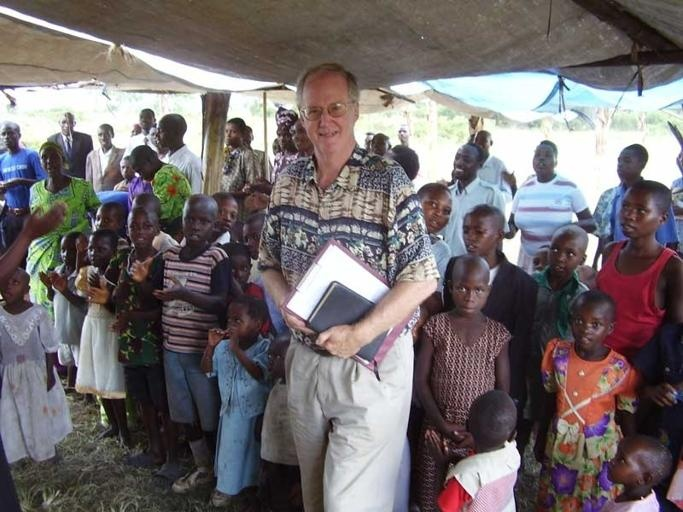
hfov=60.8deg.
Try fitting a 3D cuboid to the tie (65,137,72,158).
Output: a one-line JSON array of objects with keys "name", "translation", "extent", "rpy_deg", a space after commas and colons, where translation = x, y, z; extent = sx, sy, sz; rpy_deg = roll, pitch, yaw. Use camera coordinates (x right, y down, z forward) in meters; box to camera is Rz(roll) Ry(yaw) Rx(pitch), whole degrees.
[{"name": "tie", "translation": [-3.961, -1.591, 8.459], "extent": [0.107, 0.255, 0.065], "rpy_deg": [1, 4, -4]}]

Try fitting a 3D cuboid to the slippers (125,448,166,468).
[{"name": "slippers", "translation": [-1.507, 1.560, 4.474], "extent": [0.241, 0.099, 0.132], "rpy_deg": [10, 0, -3]}]

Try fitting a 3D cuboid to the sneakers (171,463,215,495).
[{"name": "sneakers", "translation": [-1.075, 1.618, 4.225], "extent": [0.142, 0.101, 0.266], "rpy_deg": [-29, -19, 36]}]
